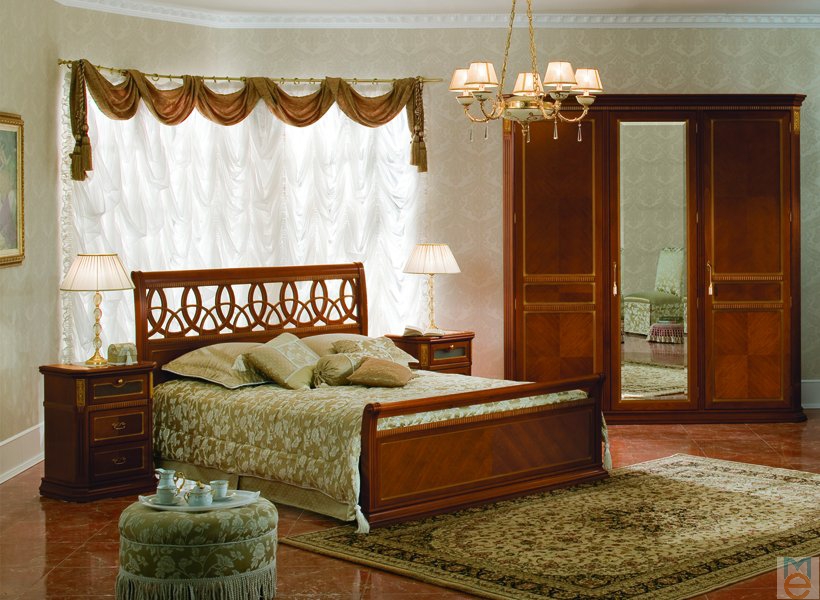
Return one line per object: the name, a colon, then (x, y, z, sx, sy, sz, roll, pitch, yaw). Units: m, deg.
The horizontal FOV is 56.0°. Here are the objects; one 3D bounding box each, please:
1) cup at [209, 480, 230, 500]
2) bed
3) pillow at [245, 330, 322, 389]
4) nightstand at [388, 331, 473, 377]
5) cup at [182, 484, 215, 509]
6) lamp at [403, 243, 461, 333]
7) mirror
cup: (-0.952, 0.930, 3.821, 0.104, 0.086, 0.124, -1, -8, 1)
bed: (-0.508, 0.802, 5.708, 2.354, 1.328, 2.285, -6, 6, -43)
pillow: (-0.887, 0.455, 5.745, 0.422, 0.121, 0.378, 36, 31, 28)
nightstand: (0.194, 0.438, 6.975, 0.455, 0.628, 0.544, 2, 4, 42)
cup: (-1.020, 0.936, 3.704, 0.127, 0.088, 0.095, 1, -5, -4)
lamp: (0.195, -0.123, 7.293, 0.769, 1.021, 0.755, 0, 2, 0)
mirror: (2.287, -0.364, 7.354, 0.712, 2.625, 0.134, -1, 4, -2)
